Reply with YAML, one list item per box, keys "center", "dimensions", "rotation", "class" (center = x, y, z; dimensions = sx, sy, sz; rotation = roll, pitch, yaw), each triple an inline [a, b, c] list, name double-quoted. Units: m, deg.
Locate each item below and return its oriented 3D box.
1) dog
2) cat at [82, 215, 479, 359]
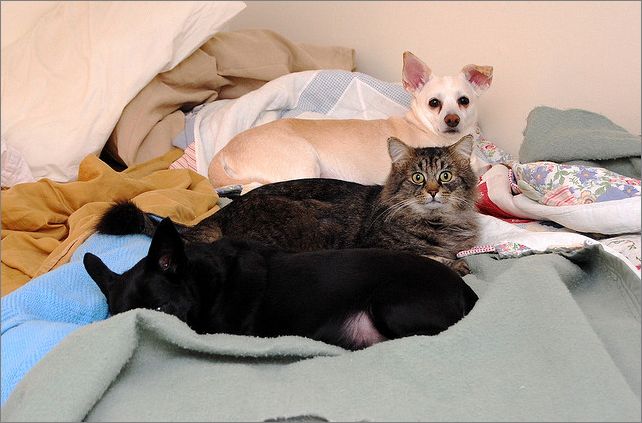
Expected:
- center: [0.291, -0.444, 3.264]
  dimensions: [1.917, 0.952, 0.631]
  rotation: [-7, 14, -14]
  class: "dog"
- center: [-0.114, 0.233, 1.680]
  dimensions: [1.140, 0.352, 0.288]
  rotation: [4, 38, 8]
  class: "cat"
